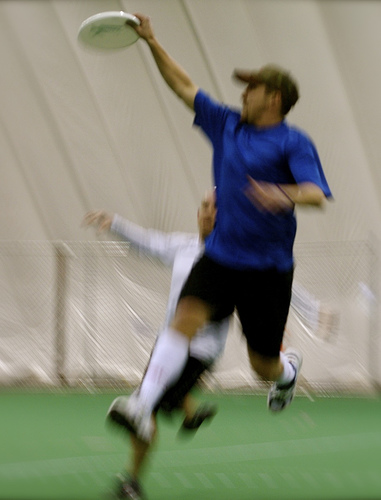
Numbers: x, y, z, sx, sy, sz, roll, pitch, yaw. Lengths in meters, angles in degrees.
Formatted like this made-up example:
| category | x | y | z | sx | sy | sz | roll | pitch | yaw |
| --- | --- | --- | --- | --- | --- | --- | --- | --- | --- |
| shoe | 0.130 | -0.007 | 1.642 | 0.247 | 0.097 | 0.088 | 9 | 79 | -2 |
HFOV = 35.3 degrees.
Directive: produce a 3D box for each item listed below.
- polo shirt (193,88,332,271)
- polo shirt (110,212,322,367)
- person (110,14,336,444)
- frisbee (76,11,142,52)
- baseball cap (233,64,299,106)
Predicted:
| category | x | y | z | sx | sy | sz | roll | pitch | yaw |
| --- | --- | --- | --- | --- | --- | --- | --- | --- | --- |
| polo shirt | 0.234 | -0.227 | 2.174 | 0.394 | 0.476 | 0.498 | -6 | 30 | 2 |
| polo shirt | 0.073 | 0.214 | 2.777 | 1.016 | 1.016 | 0.361 | 0 | 2 | 4 |
| person | 0.186 | 0.140 | 2.211 | 0.646 | 1.519 | 1.144 | 0 | 31 | 12 |
| frisbee | -0.312 | -0.886 | 2.430 | 0.260 | 0.257 | 0.051 | -6 | 71 | -33 |
| baseball cap | 0.293 | -0.636 | 2.245 | 0.248 | 0.129 | 0.161 | 19 | 16 | -3 |
